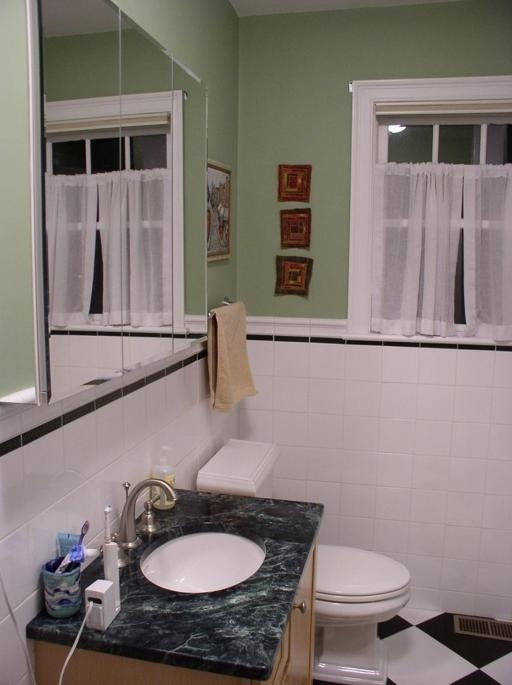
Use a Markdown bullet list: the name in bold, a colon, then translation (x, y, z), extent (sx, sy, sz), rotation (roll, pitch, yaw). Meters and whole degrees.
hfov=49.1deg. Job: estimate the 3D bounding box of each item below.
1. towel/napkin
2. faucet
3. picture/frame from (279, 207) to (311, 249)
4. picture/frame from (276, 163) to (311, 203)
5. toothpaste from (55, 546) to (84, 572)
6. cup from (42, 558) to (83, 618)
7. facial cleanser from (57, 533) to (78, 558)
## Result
- **towel/napkin**: translation (-0.081, 0.032, 2.036), extent (0.067, 0.352, 0.319), rotation (0, 9, 20)
- **faucet**: translation (-0.262, 0.392, 1.316), extent (0.133, 0.235, 0.078), rotation (3, 38, -10)
- **picture/frame**: translation (0.176, -0.502, 2.430), extent (0.114, 0.216, 0.013), rotation (2, 8, 9)
- **picture/frame**: translation (0.168, -0.688, 2.403), extent (0.108, 0.178, 0.013), rotation (3, 11, 11)
- **toothpaste**: translation (-0.342, 0.397, 1.037), extent (0.010, 0.034, 0.057), rotation (13, 54, 45)
- **cup**: translation (-0.361, 0.455, 1.063), extent (0.064, 0.129, 0.107), rotation (2, -15, -1)
- **facial cleanser**: translation (-0.358, 0.389, 1.073), extent (0.031, 0.046, 0.013), rotation (1, 0, -2)
